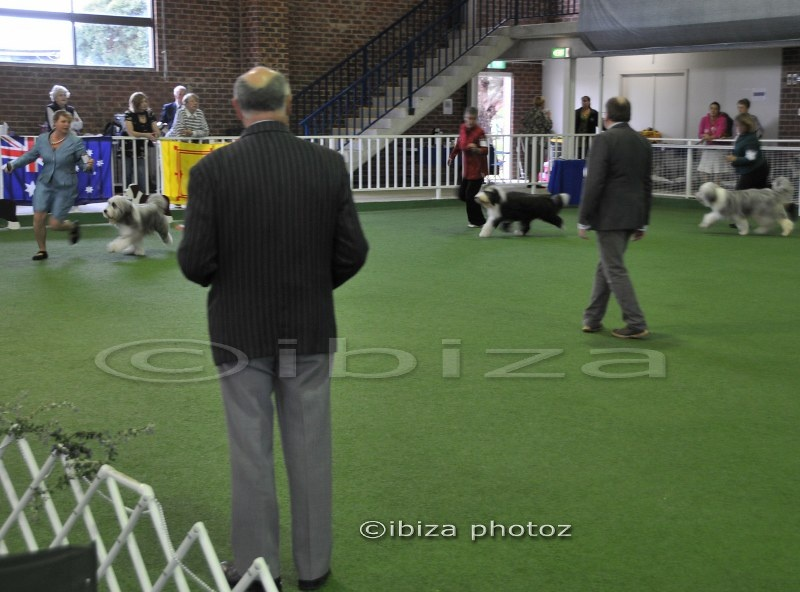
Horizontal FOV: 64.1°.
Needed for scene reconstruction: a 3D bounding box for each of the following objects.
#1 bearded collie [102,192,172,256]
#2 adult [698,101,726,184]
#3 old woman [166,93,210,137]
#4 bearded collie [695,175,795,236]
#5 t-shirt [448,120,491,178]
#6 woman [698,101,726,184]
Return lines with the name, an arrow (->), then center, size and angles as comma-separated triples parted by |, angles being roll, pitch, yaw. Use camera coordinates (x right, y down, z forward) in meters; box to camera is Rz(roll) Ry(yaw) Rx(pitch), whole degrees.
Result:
bearded collie -> -3.935, -1.062, 9.646 | 0.562, 0.869, 1.009 | 2, 10, 12
adult -> 7.161, -3.472, 14.589 | 0.596, 1.747, 1.406 | 4, 11, 24
old woman -> -4.105, -3.423, 12.335 | 0.914, 0.829, 0.867 | 14, 22, 17
bearded collie -> 6.200, -1.572, 11.412 | 1.503, 0.991, 0.611 | 3, 11, 18
t-shirt -> 1.277, -2.608, 11.698 | 0.786, 0.936, 0.820 | -19, 30, -28
woman -> 7.162, -3.472, 14.591 | 0.596, 1.747, 1.374 | 4, 11, 23
